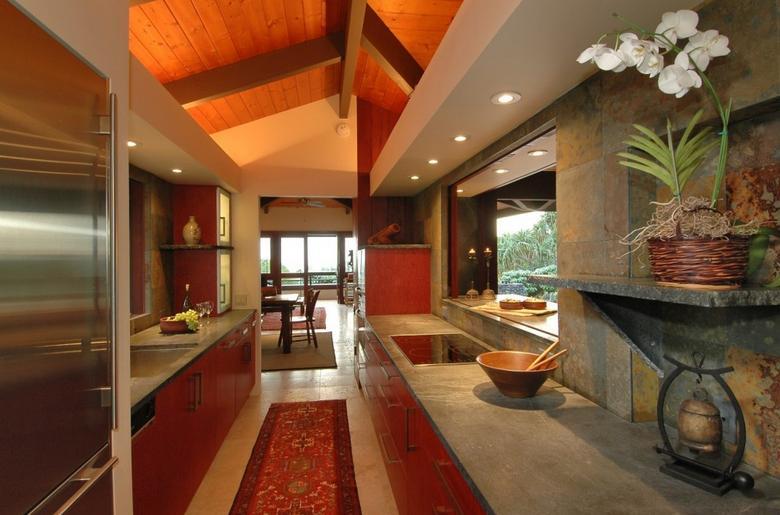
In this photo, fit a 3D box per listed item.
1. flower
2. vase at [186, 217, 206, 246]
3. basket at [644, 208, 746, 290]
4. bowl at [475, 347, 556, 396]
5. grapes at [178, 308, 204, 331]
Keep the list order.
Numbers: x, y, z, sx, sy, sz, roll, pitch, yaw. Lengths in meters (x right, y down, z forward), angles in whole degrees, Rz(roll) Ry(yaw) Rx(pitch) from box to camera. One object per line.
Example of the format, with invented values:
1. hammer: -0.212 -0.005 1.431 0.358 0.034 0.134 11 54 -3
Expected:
1. flower: 0.994 -0.490 1.944 0.504 0.669 0.384 17 26 37
2. vase: -1.708 -0.231 4.416 0.150 0.233 0.231 -8 14 -21
3. basket: 1.150 -0.063 1.890 0.336 0.299 0.338 -10 5 -27
4. bowl: 0.586 0.579 2.550 0.345 0.130 0.339 -7 3 0
5. grapes: -1.517 0.471 3.853 0.132 0.138 0.185 -21 10 -14
